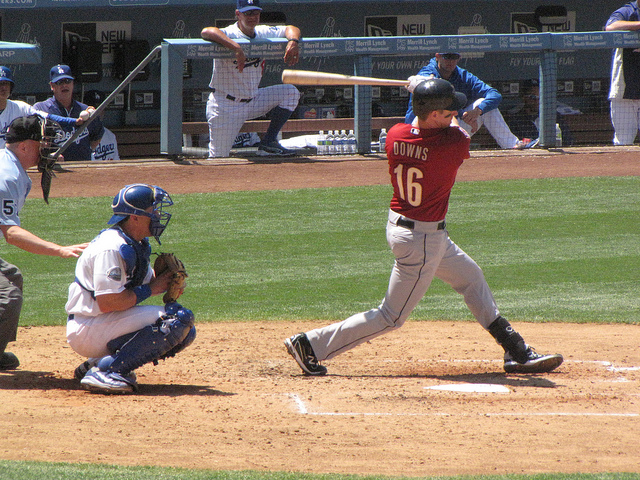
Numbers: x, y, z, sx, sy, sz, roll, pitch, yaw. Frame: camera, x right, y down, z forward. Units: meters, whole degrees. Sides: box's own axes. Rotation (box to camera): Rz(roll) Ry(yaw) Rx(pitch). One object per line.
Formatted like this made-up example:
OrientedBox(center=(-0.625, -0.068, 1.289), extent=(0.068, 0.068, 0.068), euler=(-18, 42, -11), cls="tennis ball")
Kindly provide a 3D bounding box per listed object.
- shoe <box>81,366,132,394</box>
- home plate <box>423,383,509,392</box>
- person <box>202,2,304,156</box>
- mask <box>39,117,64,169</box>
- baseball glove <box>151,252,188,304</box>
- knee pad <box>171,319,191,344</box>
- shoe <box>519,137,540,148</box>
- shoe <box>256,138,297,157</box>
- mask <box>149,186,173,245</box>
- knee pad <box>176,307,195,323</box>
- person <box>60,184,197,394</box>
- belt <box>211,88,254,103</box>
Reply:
OrientedBox(center=(-1.795, 1.184, 11.793), extent=(0.534, 0.206, 0.178), euler=(4, -8, 6), cls="shoe")
OrientedBox(center=(1.256, 1.271, 12.087), extent=(0.707, 0.045, 0.164), euler=(0, 4, 1), cls="home plate")
OrientedBox(center=(-0.953, -2.142, 18.750), extent=(1.378, 1.969, 1.213), euler=(-2, 5, -22), cls="person")
OrientedBox(center=(-2.370, -0.862, 12.421), extent=(0.192, 0.440, 0.905), euler=(-1, 4, -10), cls="mask")
OrientedBox(center=(-1.276, 0.320, 11.998), extent=(0.268, 0.428, 0.232), euler=(-1, 5, -15), cls="baseball glove")
OrientedBox(center=(-1.167, 0.768, 11.825), extent=(0.174, 0.214, 0.052), euler=(-2, 6, -24), cls="knee pad")
OrientedBox(center=(3.167, -1.475, 20.884), extent=(0.152, 0.101, 0.511), euler=(-3, 8, 22), cls="shoe")
OrientedBox(center=(-0.605, -1.304, 19.547), extent=(0.551, 0.261, 0.311), euler=(0, 4, -3), cls="shoe")
OrientedBox(center=(-1.351, -0.217, 11.967), extent=(0.181, 0.488, 0.499), euler=(0, 4, -5), cls="mask")
OrientedBox(center=(-1.114, 0.630, 11.860), extent=(0.152, 0.107, 0.106), euler=(7, 35, -49), cls="knee pad")
OrientedBox(center=(-1.591, 0.413, 11.816), extent=(1.063, 1.771, 0.439), euler=(0, 5, -5), cls="person")
OrientedBox(center=(-1.154, -1.917, 18.689), extent=(0.371, 0.073, 0.320), euler=(22, 1, 4), cls="belt")
